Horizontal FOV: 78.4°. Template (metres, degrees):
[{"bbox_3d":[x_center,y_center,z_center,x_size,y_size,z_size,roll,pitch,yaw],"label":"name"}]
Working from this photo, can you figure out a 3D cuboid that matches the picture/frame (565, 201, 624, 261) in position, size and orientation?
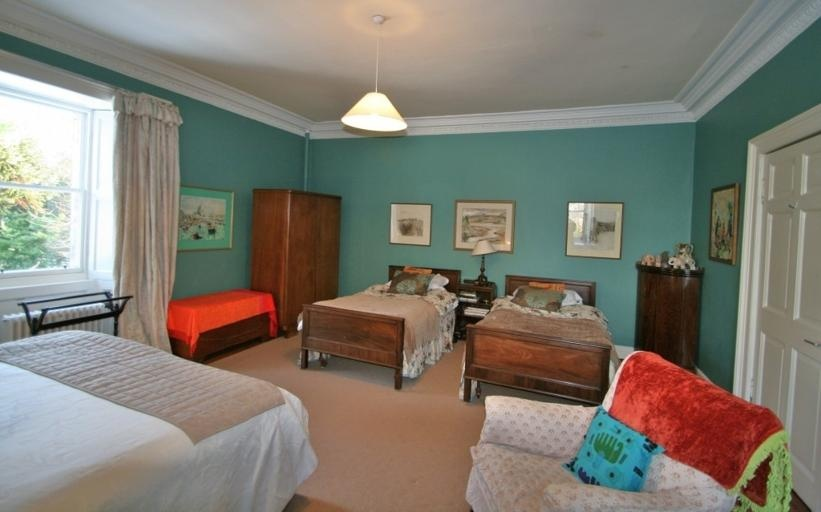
[{"bbox_3d":[2.845,-0.399,7.660,0.915,0.994,0.057,3,7,22],"label":"picture/frame"}]

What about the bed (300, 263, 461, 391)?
[{"bbox_3d":[-0.450,1.087,7.306,1.621,1.005,1.813,3,5,25],"label":"bed"}]

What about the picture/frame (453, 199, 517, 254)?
[{"bbox_3d":[1.257,-0.501,8.159,0.913,0.727,0.038,3,8,24],"label":"picture/frame"}]

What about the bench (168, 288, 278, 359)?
[{"bbox_3d":[-2.756,0.948,7.343,0.978,0.668,1.441,2,8,34],"label":"bench"}]

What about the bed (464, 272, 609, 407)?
[{"bbox_3d":[1.626,1.016,6.126,1.074,0.808,1.596,1,3,23],"label":"bed"}]

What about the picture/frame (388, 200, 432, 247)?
[{"bbox_3d":[0.022,-0.571,8.609,0.817,0.752,0.061,2,7,20],"label":"picture/frame"}]

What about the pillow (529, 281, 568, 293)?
[{"bbox_3d":[2.150,0.485,7.813,0.423,0.150,0.047,5,-7,20],"label":"pillow"}]

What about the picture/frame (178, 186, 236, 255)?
[{"bbox_3d":[-3.017,-0.544,7.363,0.048,1.001,1.031,9,8,27],"label":"picture/frame"}]

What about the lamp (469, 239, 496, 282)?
[{"bbox_3d":[1.154,0.094,8.003,0.351,0.638,0.383,8,-7,-32],"label":"lamp"}]

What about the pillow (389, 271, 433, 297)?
[{"bbox_3d":[0.001,0.431,7.860,0.409,0.134,0.466,-5,19,7],"label":"pillow"}]
